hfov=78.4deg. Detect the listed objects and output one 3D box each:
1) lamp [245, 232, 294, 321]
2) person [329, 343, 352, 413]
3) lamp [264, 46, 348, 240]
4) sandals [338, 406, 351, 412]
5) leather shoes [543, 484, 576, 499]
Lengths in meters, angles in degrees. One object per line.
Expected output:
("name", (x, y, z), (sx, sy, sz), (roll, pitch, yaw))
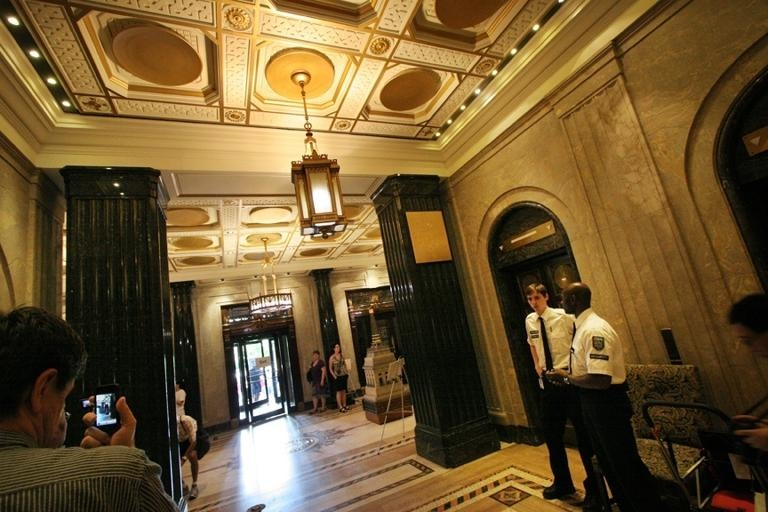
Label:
("lamp", (-2.573, 0.402, 10.464), (1.097, 1.516, 1.066), (-8, 1, 10))
("person", (-1.052, 2.949, 11.316), (0.474, 1.632, 1.043), (-13, 1, -10))
("lamp", (-0.795, -1.304, 5.568), (0.822, 2.187, 1.048), (-13, 1, -8))
("sandals", (-0.943, 3.609, 11.089), (0.180, 0.068, 0.236), (4, -12, -23))
("leather shoes", (1.867, 2.535, 5.119), (0.370, 0.168, 0.152), (0, -3, -4))
